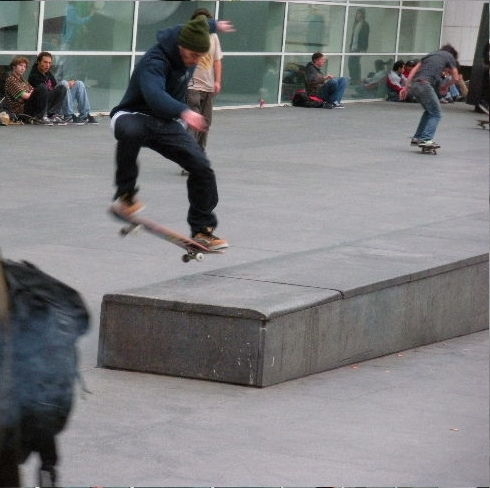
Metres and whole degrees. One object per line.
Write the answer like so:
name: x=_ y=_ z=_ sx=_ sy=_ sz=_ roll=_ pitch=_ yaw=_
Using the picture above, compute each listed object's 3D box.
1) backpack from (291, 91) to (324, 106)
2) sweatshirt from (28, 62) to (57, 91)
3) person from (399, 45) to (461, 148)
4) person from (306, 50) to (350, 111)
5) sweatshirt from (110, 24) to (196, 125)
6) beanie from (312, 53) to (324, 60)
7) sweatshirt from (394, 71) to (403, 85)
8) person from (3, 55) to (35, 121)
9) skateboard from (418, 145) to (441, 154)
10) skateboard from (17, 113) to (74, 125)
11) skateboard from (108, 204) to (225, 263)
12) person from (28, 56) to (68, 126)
backpack: x=1.957 y=-4.583 z=23.018 sx=0.786 sy=0.179 sz=0.522 roll=2 pitch=7 yaw=21
sweatshirt: x=-4.282 y=-3.533 z=15.404 sx=0.490 sy=0.595 sz=0.727 roll=5 pitch=8 yaw=1
person: x=3.580 y=-2.885 z=13.949 sx=1.378 sy=1.827 sz=0.914 roll=15 pitch=15 yaw=34
person: x=2.525 y=-5.061 z=22.786 sx=1.475 sy=1.600 sz=0.657 roll=-3 pitch=13 yaw=-38
sweatshirt: x=-0.667 y=-1.300 z=5.480 sx=0.633 sy=0.783 sz=0.742 roll=3 pitch=9 yaw=-10
beanie: x=2.205 y=-5.723 z=22.250 sx=0.296 sy=0.175 sz=0.192 roll=-22 pitch=13 yaw=2
sweatshirt: x=5.635 y=-6.080 z=26.685 sx=0.151 sy=0.416 sz=0.614 roll=14 pitch=12 yaw=37
person: x=-4.676 y=-3.187 z=15.081 sx=0.613 sy=1.249 sz=0.756 roll=3 pitch=10 yaw=-16
skateboard: x=3.475 y=-1.781 z=13.730 sx=0.260 sy=0.061 sz=0.210 roll=1 pitch=3 yaw=2
skateboard: x=-4.341 y=-2.715 z=15.749 sx=1.231 sy=0.332 sz=0.332 roll=-4 pitch=14 yaw=-3
skateboard: x=-0.667 y=-0.060 z=5.903 sx=1.040 sy=0.145 sz=0.206 roll=23 pitch=-18 yaw=0
person: x=-4.168 y=-3.229 z=15.421 sx=0.745 sy=1.440 sz=1.480 roll=6 pitch=9 yaw=5
